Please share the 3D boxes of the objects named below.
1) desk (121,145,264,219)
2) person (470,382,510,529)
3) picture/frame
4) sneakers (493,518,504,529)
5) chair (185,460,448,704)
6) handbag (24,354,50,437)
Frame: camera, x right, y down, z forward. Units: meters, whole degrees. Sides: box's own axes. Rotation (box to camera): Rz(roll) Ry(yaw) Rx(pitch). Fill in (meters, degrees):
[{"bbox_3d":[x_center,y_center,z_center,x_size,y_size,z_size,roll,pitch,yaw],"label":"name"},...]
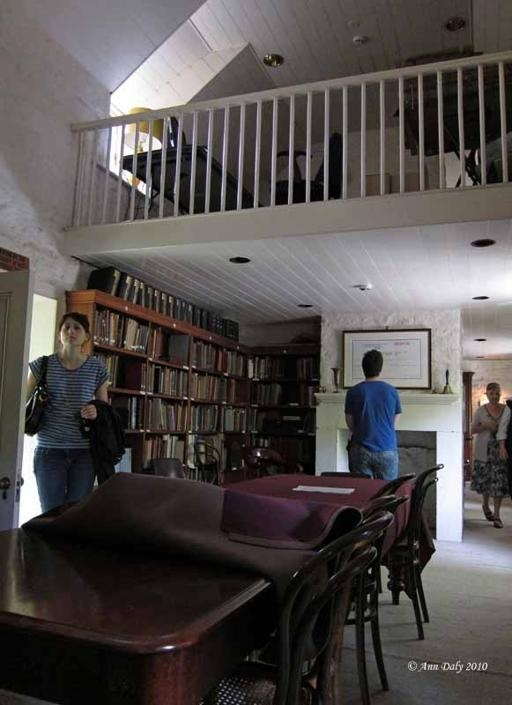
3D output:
[{"bbox_3d":[-0.667,-1.627,5.231,0.727,0.375,1.549,0,-7,14],"label":"desk"},{"bbox_3d":[2.959,1.314,6.895,0.485,1.316,0.779,-3,-2,21],"label":"person"},{"bbox_3d":[1.531,0.072,6.149,0.744,0.582,0.028,-1,-13,17],"label":"picture/frame"},{"bbox_3d":[2.951,2.084,6.627,0.078,0.098,0.243,-2,-8,11],"label":"sneakers"},{"bbox_3d":[0.462,0.928,2.883,1.295,1.013,1.256,-5,-10,32],"label":"chair"},{"bbox_3d":[-1.205,0.234,2.989,0.123,0.426,0.290,-1,-2,-21],"label":"handbag"}]
